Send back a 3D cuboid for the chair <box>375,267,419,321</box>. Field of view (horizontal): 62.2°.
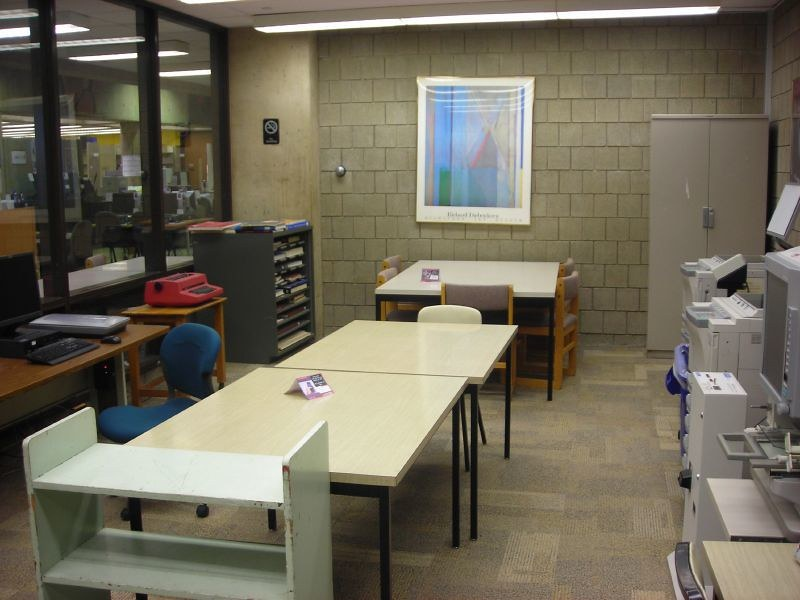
[{"bbox_3d":[-0.008,-0.040,5.942,0.343,0.499,0.354,-11,-2,25],"label":"chair"}]

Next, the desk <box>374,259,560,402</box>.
[{"bbox_3d":[0.453,0.068,6.166,1.475,1.146,2.051,5,9,18],"label":"desk"}]

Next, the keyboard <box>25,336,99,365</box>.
[{"bbox_3d":[-1.989,0.295,3.921,0.262,0.053,0.377,5,14,18],"label":"keyboard"}]

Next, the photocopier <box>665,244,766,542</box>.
[{"bbox_3d":[1.942,0.297,4.132,0.407,1.096,1.271,0,17,18],"label":"photocopier"}]

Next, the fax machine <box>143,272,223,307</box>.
[{"bbox_3d":[-1.717,-0.069,5.311,0.590,0.238,0.344,-8,16,-30],"label":"fax machine"}]
